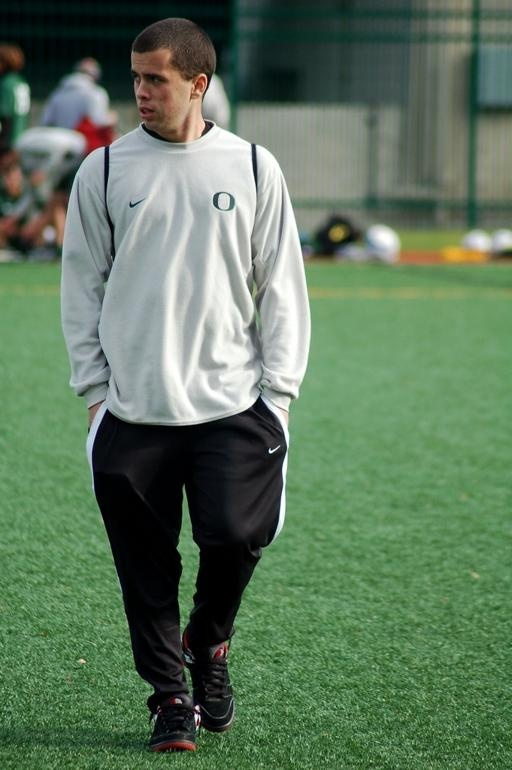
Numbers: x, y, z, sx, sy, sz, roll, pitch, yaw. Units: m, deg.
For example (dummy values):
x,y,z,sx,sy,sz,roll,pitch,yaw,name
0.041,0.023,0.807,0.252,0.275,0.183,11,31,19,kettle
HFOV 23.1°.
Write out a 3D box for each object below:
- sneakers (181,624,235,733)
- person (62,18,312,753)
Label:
x,y,z,sx,sy,sz,roll,pitch,yaw,name
-0.093,0.589,2.455,0.064,0.243,0.096,-9,-23,-8,sneakers
-0.120,-0.002,2.356,0.480,1.330,0.330,-1,10,-10,person
